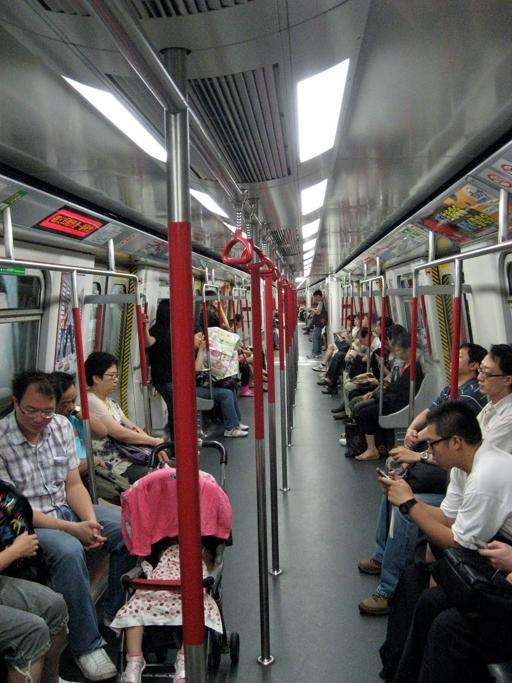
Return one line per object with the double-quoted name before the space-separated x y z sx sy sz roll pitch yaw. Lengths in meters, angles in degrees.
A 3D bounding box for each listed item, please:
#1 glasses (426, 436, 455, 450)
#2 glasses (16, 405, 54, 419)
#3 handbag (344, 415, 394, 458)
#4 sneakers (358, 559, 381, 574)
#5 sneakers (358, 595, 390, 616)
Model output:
"glasses" 0.960 0.535 2.392 0.102 0.031 0.099 -17 -1 2
"glasses" -1.211 0.393 2.531 0.180 0.086 0.105 -1 2 -19
"handbag" 1.670 1.459 6.911 0.628 0.618 0.457 2 -5 0
"sneakers" 0.897 1.795 3.684 0.153 0.115 0.135 0 2 -15
"sneakers" 0.797 1.776 3.108 0.238 0.108 0.095 3 0 -7
